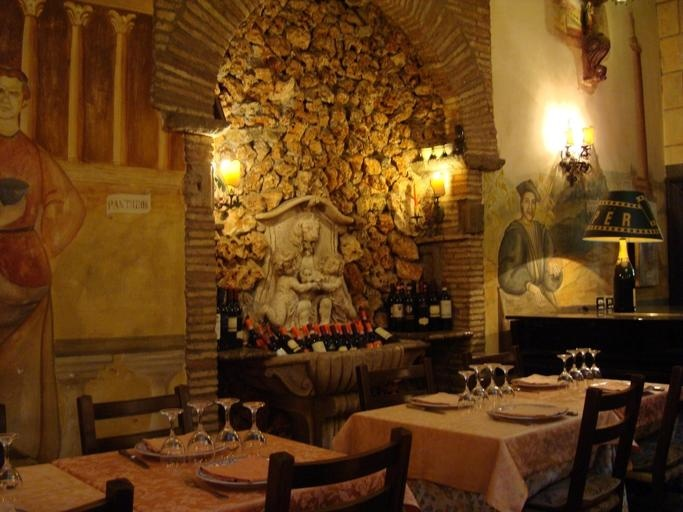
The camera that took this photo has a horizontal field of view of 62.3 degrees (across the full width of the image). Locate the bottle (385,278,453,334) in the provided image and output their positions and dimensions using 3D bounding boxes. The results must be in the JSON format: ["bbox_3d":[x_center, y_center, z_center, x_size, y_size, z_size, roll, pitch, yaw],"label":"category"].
[{"bbox_3d":[0.846,0.539,6.114,0.705,0.451,0.297,-3,-2,-20],"label":"bottle"}]

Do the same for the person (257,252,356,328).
[{"bbox_3d":[-0.344,0.290,5.521,0.967,0.781,0.470,-4,8,-29],"label":"person"}]

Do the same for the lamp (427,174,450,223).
[{"bbox_3d":[1.065,-0.652,6.230,0.198,0.481,0.151,-4,-2,37],"label":"lamp"}]

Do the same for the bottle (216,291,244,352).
[{"bbox_3d":[-0.959,0.529,4.894,0.252,0.520,0.187,-2,-2,-26],"label":"bottle"}]

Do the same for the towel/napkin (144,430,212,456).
[{"bbox_3d":[-0.733,0.846,2.542,0.168,0.073,0.177,2,-2,-25],"label":"towel/napkin"}]

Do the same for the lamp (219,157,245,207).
[{"bbox_3d":[-0.992,-0.680,5.109,0.184,0.455,0.217,-3,-2,-7],"label":"lamp"}]
